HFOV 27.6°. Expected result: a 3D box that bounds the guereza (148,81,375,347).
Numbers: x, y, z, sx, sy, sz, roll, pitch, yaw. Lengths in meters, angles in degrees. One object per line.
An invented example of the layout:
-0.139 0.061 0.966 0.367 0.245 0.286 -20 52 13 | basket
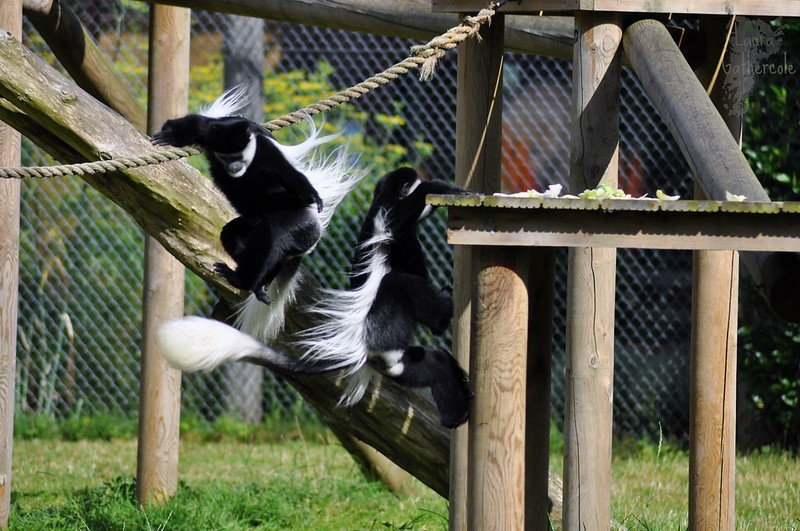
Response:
-0.679 -0.166 8.940 0.949 0.862 1.575 33 7 7 | guereza
